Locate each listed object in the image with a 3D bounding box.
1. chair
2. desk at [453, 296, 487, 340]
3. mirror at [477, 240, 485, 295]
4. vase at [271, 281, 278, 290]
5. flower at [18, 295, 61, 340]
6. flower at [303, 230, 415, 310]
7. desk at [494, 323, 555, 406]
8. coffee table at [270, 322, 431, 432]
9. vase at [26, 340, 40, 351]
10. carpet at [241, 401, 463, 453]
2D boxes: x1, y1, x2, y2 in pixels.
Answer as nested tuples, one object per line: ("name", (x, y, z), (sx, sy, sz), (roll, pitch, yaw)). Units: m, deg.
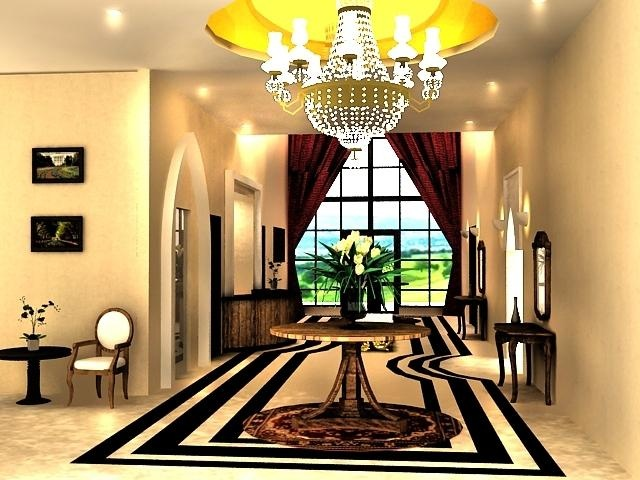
("chair", (-2.714, 1.437, 5.847), (0.795, 1.149, 0.617), (-1, -3, 16))
("desk", (3.553, 1.820, 11.450), (0.680, 0.851, 1.187), (5, 1, -1))
("mirror", (3.745, 0.641, 10.813), (0.125, 1.276, 0.682), (-1, -3, 14))
("vase", (-1.228, 1.159, 12.372), (0.159, 0.236, 0.391), (0, -3, -9))
("flower", (-3.637, 1.007, 6.076), (0.565, 0.633, 0.245), (1, -6, -6))
("flower", (0.395, 0.367, 5.184), (0.935, 0.809, 0.843), (-4, -11, -17))
("desk", (2.631, 1.577, 6.056), (0.667, 0.915, 0.971), (-1, -3, 16))
("coffee table", (0.377, 1.324, 4.976), (1.257, 0.769, 1.263), (-1, -6, 15))
("vase", (-3.508, 1.261, 5.672), (0.144, 0.137, 0.142), (1, 3, -1))
("carpet", (0.364, 1.974, 5.043), (2.301, 0.016, 2.378), (-9, -14, 42))
